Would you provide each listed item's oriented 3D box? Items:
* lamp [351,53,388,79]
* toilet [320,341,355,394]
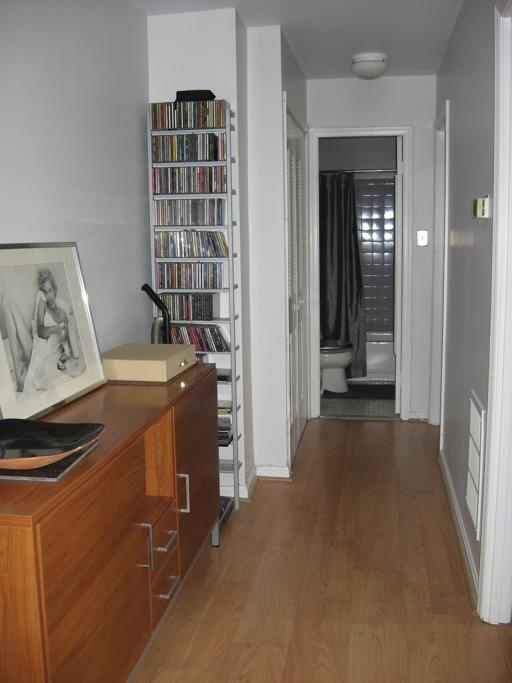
[{"bbox_3d":[0.710,-1.729,3.465,0.213,0.089,0.230,-1,7,7],"label":"lamp"},{"bbox_3d":[0.718,0.250,5.111,0.302,0.469,0.383,-1,7,-1],"label":"toilet"}]
